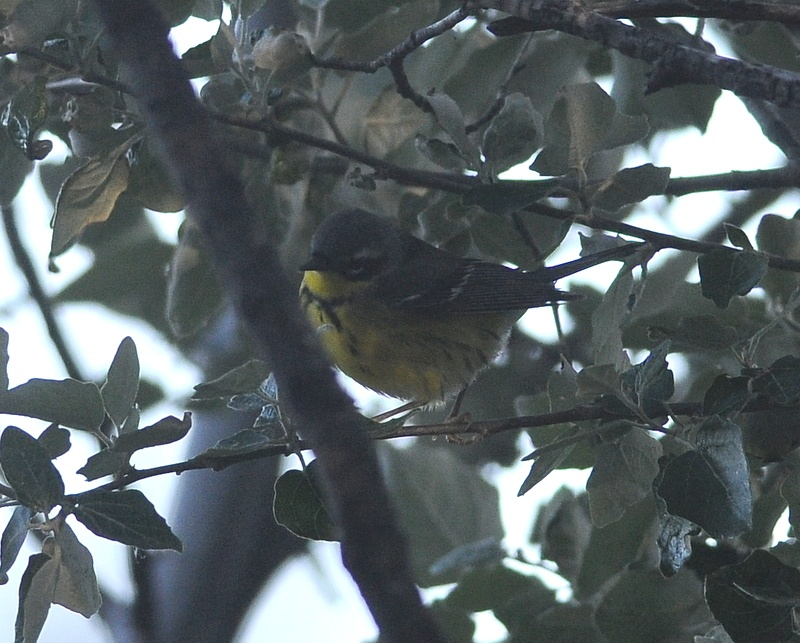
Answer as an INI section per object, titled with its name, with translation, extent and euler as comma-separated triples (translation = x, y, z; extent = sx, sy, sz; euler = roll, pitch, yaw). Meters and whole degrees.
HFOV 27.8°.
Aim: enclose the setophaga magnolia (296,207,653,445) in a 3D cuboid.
[setophaga magnolia]
translation = 0.101, -0.012, 2.805
extent = 0.738, 0.231, 0.389
euler = -5, -83, -36
